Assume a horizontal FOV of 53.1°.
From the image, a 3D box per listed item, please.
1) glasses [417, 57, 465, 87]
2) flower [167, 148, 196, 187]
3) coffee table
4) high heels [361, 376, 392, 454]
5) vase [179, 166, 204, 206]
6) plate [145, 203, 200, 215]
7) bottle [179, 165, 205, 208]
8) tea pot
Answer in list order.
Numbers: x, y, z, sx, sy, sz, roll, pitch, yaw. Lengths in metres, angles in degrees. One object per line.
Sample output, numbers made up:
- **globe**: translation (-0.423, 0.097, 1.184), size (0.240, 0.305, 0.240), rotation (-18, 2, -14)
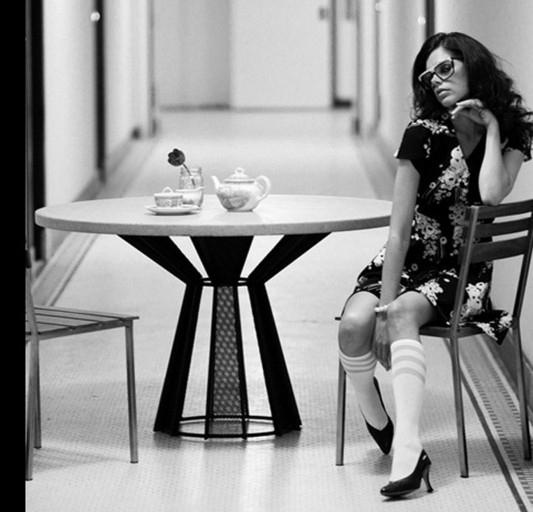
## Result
- **glasses**: translation (0.510, -0.551, 1.604), size (0.128, 0.073, 0.048), rotation (5, 8, 43)
- **flower**: translation (-0.324, -0.317, 2.049), size (0.061, 0.084, 0.157), rotation (3, 44, -32)
- **coffee table**: translation (-0.191, 0.144, 1.809), size (0.919, 0.672, 0.910), rotation (-2, 3, -43)
- **high heels**: translation (0.373, 0.531, 1.780), size (0.065, 0.046, 0.274), rotation (-29, 35, 19)
- **vase**: translation (-0.293, -0.272, 2.100), size (0.085, 0.151, 0.087), rotation (-6, 22, -20)
- **plate**: translation (-0.330, -0.164, 1.906), size (0.180, 0.035, 0.234), rotation (-2, 6, -8)
- **bottle**: translation (-0.295, -0.269, 2.101), size (0.086, 0.157, 0.095), rotation (0, 12, 0)
- **tea pot**: translation (-0.095, -0.233, 1.929), size (0.204, 0.178, 0.157), rotation (2, 3, 17)
